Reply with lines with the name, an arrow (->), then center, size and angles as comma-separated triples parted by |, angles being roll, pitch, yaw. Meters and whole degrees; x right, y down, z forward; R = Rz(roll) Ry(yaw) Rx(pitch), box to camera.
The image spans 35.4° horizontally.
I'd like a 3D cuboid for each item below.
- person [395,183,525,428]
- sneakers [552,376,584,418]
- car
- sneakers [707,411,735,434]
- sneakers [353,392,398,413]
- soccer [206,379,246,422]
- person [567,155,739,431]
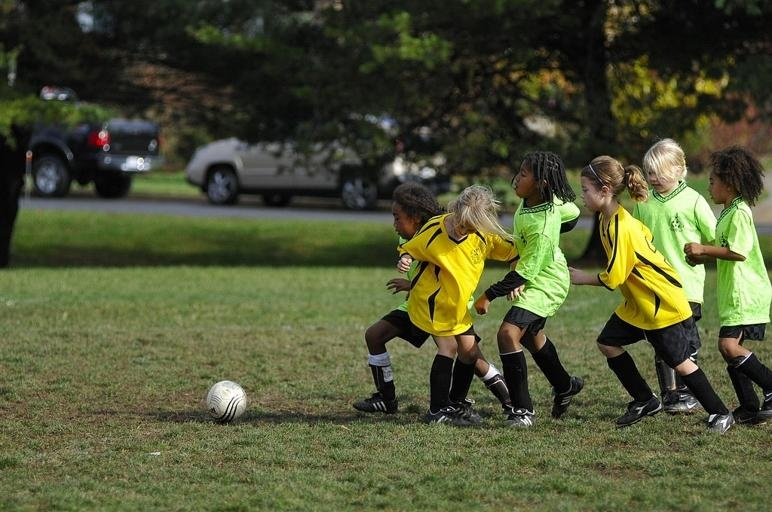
person -> 0.578, 0.410, 10.052 | 0.874, 1.590, 0.536 | 2, 1, 11
sneakers -> 1.521, 1.267, 10.329 | 0.206, 0.468, 0.158 | 3, 28, -23
car -> -0.605, -0.729, 11.062 | 2.310, 0.825, 1.030 | 3, 5, -4
sneakers -> 2.745, 1.357, 9.876 | 0.124, 0.098, 0.287 | 35, -44, -17
sneakers -> -0.134, 1.269, 10.513 | 0.458, 0.216, 0.156 | 4, -6, 5
soccer -> -1.314, 1.198, 10.188 | 0.340, 0.329, 0.321 | 5, -3, -2
person -> 2.142, 0.311, 9.933 | 1.252, 1.996, 0.456 | 2, 1, 4
